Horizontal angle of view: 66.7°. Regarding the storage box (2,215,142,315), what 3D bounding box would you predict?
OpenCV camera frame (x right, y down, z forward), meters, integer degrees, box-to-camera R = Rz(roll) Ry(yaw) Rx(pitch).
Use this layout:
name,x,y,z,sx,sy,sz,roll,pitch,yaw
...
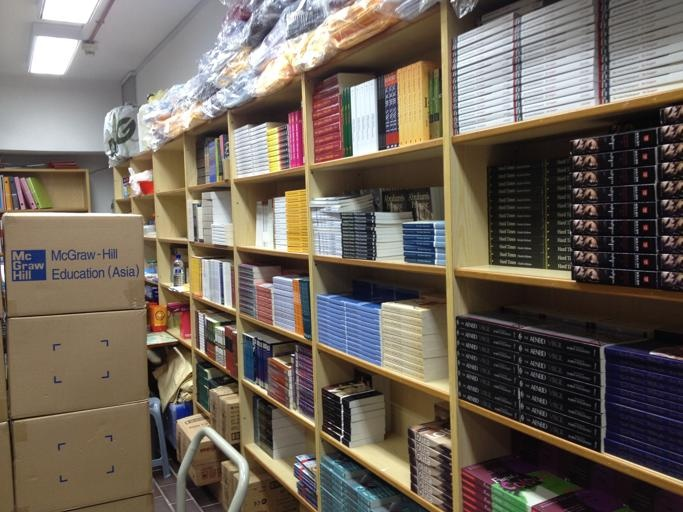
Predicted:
name,x,y,z,sx,sy,sz,roll,pitch,yaw
storage box,-1.027,0.030,2.008,0.421,0.300,0.398,-1,2,-25

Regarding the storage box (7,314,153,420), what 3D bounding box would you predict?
name,x,y,z,sx,sy,sz,roll,pitch,yaw
storage box,-1.027,0.415,2.013,0.400,0.284,0.381,-1,2,-32

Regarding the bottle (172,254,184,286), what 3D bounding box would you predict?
name,x,y,z,sx,sy,sz,roll,pitch,yaw
bottle,-1.393,0.124,4.421,0.105,0.262,0.135,-12,8,-41

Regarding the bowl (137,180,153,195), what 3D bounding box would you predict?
name,x,y,z,sx,sy,sz,roll,pitch,yaw
bowl,-1.821,-0.627,4.821,0.130,0.119,0.165,-2,2,43

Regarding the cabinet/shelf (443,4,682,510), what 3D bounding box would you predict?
name,x,y,z,sx,sy,sz,roll,pitch,yaw
cabinet/shelf,0.660,0.003,1.633,0.654,1.682,0.420,-1,9,43

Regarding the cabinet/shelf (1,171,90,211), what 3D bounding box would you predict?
name,x,y,z,sx,sy,sz,roll,pitch,yaw
cabinet/shelf,-3.330,-0.713,5.768,0.507,0.408,0.160,-4,5,-40
